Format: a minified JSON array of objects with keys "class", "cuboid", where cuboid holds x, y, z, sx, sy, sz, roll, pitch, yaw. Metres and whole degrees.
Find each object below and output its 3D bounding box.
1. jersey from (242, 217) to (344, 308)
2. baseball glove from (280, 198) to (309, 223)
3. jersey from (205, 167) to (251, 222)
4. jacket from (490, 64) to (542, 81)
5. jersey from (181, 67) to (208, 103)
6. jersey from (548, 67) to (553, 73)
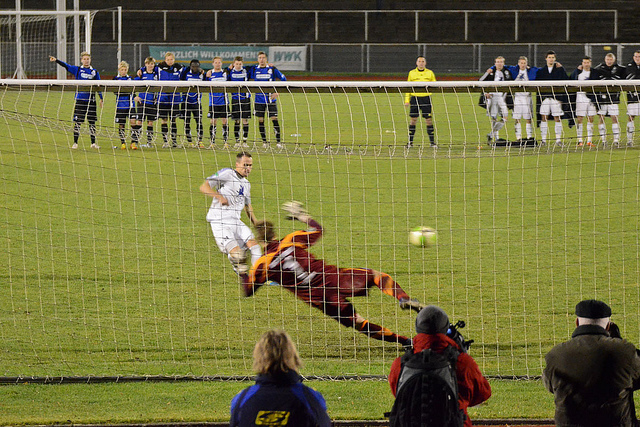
[{"class":"jersey","cuboid":[-0.467,0.984,30.908,1.876,1.784,0.466,0,-2,0]},{"class":"baseball glove","cuboid":[-0.483,-0.051,30.904,0.457,0.409,0.609,0,-2,-5]},{"class":"jersey","cuboid":[-1.832,-0.397,32.111,0.889,1.072,0.987,0,-2,-5]},{"class":"jacket","cuboid":[4.831,-3.516,39.109,1.318,0.431,0.275,5,-24,-1]},{"class":"jersey","cuboid":[-3.187,-3.378,39.762,0.733,0.713,0.430,1,28,-20]},{"class":"jersey","cuboid":[5.641,-3.556,38.680,0.200,0.156,0.043,0,3,4]}]
